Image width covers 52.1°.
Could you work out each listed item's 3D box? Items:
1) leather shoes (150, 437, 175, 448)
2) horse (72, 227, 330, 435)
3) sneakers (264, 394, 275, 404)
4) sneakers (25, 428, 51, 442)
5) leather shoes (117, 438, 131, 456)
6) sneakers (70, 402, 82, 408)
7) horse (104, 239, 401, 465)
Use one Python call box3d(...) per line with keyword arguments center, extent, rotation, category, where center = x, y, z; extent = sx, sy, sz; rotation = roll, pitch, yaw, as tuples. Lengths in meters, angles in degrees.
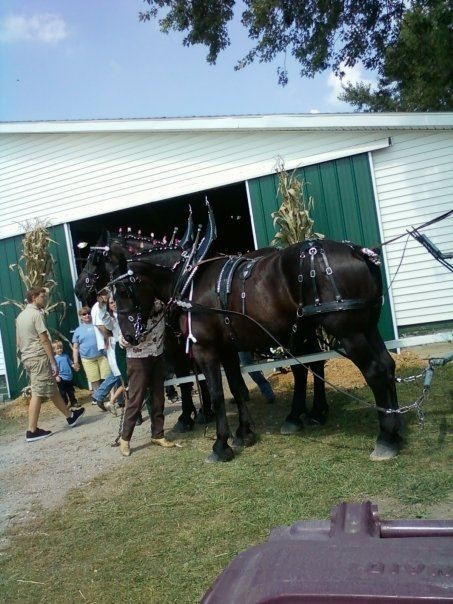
box3d(center=(-0.644, 1.427, 4.716), extent=(0.250, 0.071, 0.103), rotation=(-7, -10, 40), category="leather shoes")
box3d(center=(0.147, 0.382, 4.121), extent=(2.735, 1.822, 0.758), rotation=(-5, -5, 27), category="horse")
box3d(center=(0.537, 1.226, 5.817), extent=(0.113, 0.083, 0.127), rotation=(-4, -11, 26), category="sneakers")
box3d(center=(-2.429, 1.708, 5.972), extent=(0.355, 0.138, 0.123), rotation=(-1, -2, -29), category="sneakers")
box3d(center=(-1.053, 1.463, 4.689), extent=(0.096, 0.105, 0.268), rotation=(5, -1, -25), category="leather shoes")
box3d(center=(-2.522, 1.753, 7.874), extent=(0.173, 0.112, 0.214), rotation=(0, -9, -6), category="sneakers")
box3d(center=(0.167, 0.271, 4.561), extent=(2.886, 2.123, 0.779), rotation=(-13, -3, 19), category="horse")
